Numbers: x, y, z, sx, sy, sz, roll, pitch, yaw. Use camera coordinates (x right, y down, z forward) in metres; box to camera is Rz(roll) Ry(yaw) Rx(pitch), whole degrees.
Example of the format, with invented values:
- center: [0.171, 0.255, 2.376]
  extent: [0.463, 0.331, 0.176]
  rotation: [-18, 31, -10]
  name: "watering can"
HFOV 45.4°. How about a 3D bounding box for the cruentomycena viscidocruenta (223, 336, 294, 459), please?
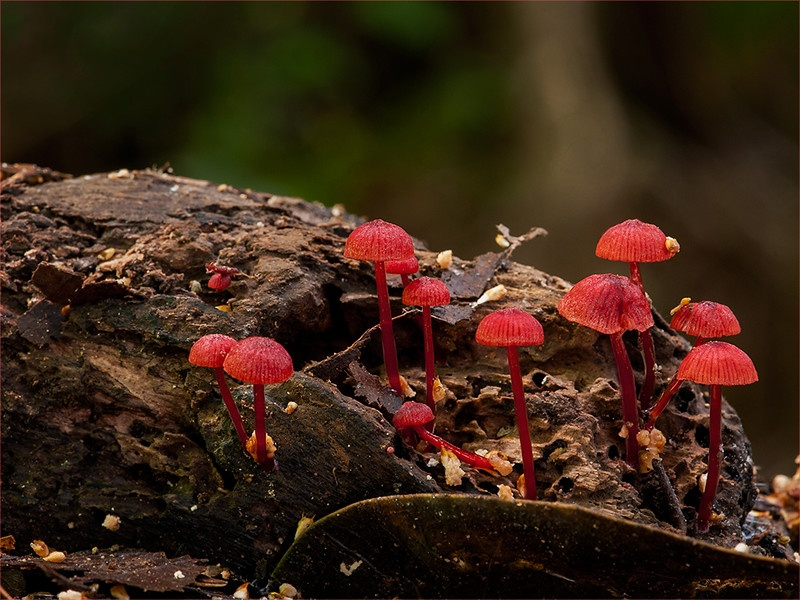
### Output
- center: [-0.643, 0.488, 4.482]
  extent: [0.337, 0.306, 0.670]
  rotation: [0, -67, -4]
  name: "cruentomycena viscidocruenta"
